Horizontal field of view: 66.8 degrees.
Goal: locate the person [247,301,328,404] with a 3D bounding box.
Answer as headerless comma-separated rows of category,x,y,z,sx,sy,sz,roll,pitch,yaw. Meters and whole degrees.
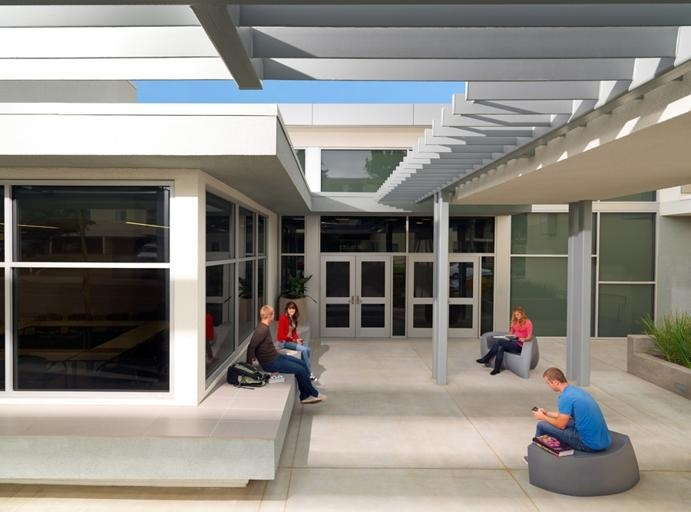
person,-1.007,1.651,8.512,1.160,1.702,0.435,-2,8,-11

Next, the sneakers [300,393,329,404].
sneakers,-0.505,2.387,8.737,0.435,0.161,0.154,-2,1,-6

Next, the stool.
stool,3.052,2.691,6.948,1.371,0.511,1.408,-8,-5,30

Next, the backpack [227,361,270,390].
backpack,-1.490,1.834,7.970,0.469,0.183,0.376,1,-3,3
